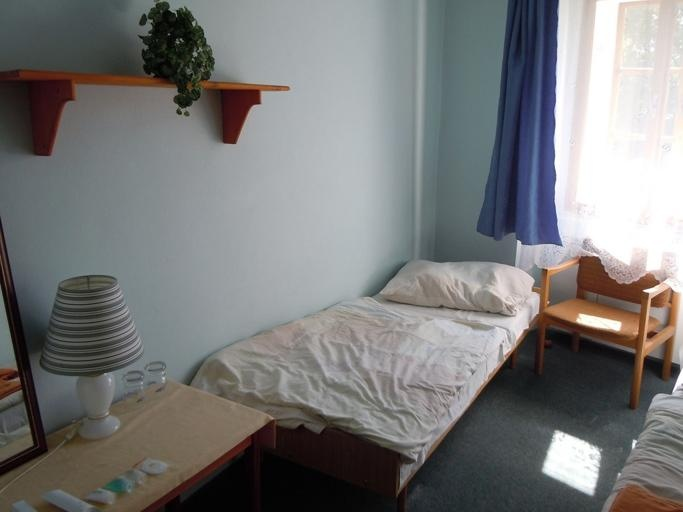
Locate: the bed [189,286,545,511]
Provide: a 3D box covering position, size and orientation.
[{"bbox_3d":[0.259,0.563,2.765,0.849,0.416,1.459,10,18,33],"label":"bed"}]

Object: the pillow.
[{"bbox_3d":[0.772,0.198,3.445,0.646,0.178,0.497,4,17,23],"label":"pillow"}]

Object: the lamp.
[{"bbox_3d":[-0.955,0.414,2.026,0.331,0.623,0.300,5,19,15],"label":"lamp"}]

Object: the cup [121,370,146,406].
[{"bbox_3d":[-0.889,0.565,2.210,0.108,0.176,0.104,-1,5,0],"label":"cup"}]
